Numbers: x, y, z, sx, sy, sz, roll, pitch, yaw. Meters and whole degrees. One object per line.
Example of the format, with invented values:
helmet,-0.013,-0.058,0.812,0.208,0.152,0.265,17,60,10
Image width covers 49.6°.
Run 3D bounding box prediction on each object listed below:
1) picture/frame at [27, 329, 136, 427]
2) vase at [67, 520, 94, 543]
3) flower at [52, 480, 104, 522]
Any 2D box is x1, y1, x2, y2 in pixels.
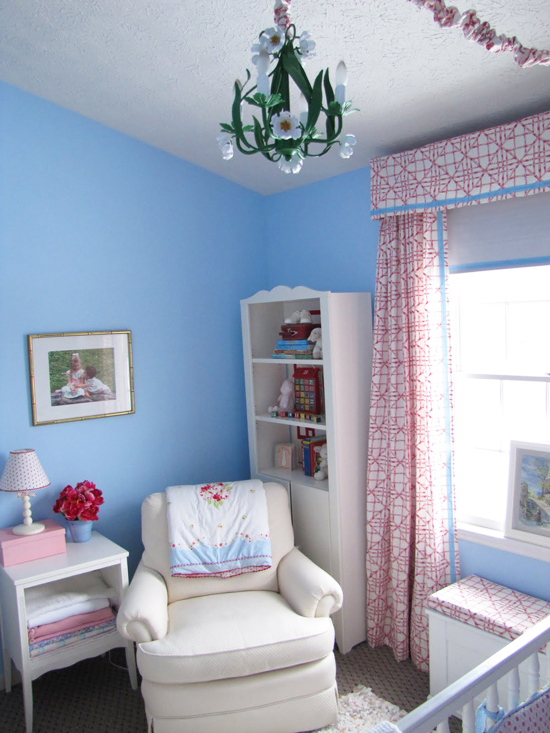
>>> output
picture/frame,-0.961,0.055,2.877,0.486,0.392,0.034,-6,8,-42
vase,-0.895,0.751,2.757,0.116,0.083,0.105,2,1,-9
flower,-0.897,0.603,2.752,0.202,0.171,0.203,-4,-2,-41
